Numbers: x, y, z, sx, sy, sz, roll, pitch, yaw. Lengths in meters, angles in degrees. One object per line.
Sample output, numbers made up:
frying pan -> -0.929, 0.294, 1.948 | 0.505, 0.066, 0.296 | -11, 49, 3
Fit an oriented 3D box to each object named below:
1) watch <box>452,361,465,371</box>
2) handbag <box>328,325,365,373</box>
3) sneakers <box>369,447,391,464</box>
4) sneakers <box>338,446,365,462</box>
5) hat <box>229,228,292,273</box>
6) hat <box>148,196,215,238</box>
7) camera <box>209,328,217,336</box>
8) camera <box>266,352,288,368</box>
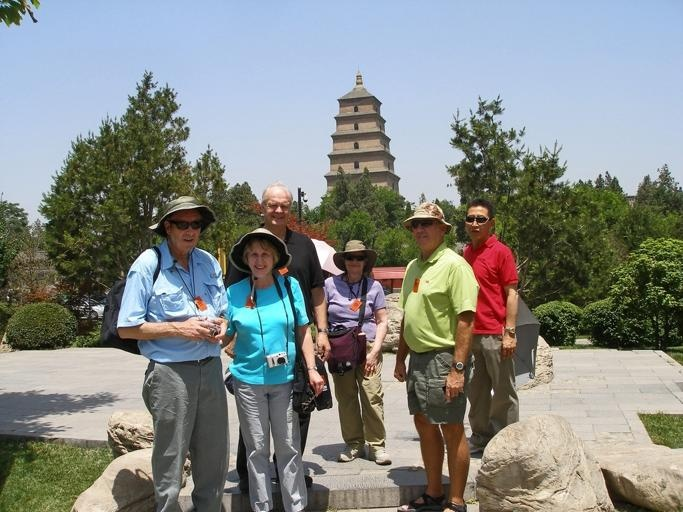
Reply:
watch -> 0.975, 0.922, 4.906 | 0.067, 0.077, 0.068 | 17, 0, 45
handbag -> 0.052, 0.954, 6.010 | 0.382, 0.439, 0.212 | -4, -8, -4
sneakers -> 0.368, 2.052, 6.060 | 0.303, 0.160, 0.148 | -6, -7, 37
sneakers -> 0.110, 2.098, 6.244 | 0.104, 0.154, 0.291 | -8, -13, 39
hat -> -0.698, -0.066, 5.013 | 0.349, 0.461, 0.192 | -13, 34, 7
hat -> -1.326, -0.325, 4.790 | 0.335, 0.168, 0.426 | 8, -30, -41
camera -> -0.974, 0.584, 4.523 | 0.013, 0.057, 0.065 | -6, -7, 43
camera -> -0.521, 0.848, 4.807 | 0.167, 0.130, 0.103 | -2, -5, -19
